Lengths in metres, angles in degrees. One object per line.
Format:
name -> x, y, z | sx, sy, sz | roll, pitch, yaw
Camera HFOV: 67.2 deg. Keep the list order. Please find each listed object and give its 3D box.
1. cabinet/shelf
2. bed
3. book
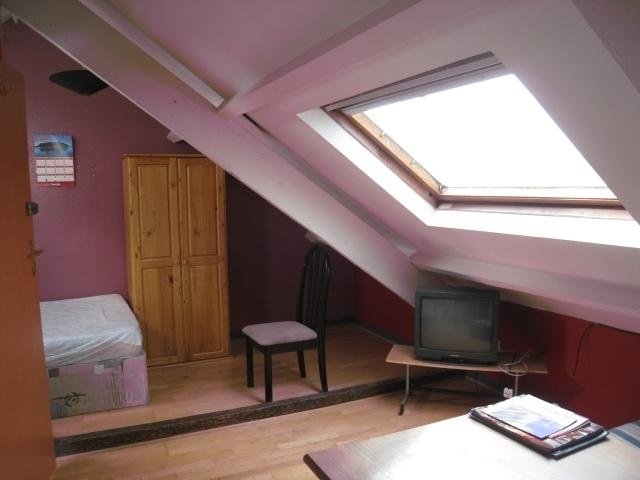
cabinet/shelf -> -1.294, 0.193, 4.477 | 0.833, 1.924, 0.224 | -3, 10, -18
bed -> -1.804, 0.921, 3.879 | 0.806, 0.528, 1.065 | -1, 7, -22
book -> 0.991, 0.845, 2.150 | 0.391, 0.072, 0.421 | -5, 13, -23
